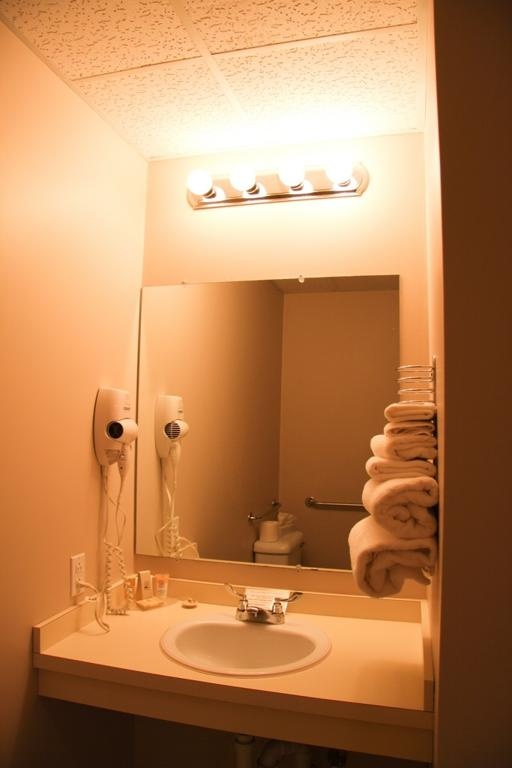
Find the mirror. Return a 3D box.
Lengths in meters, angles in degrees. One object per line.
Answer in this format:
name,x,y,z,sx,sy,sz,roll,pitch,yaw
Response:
mirror,0.054,0.135,1.808,0.925,0.989,0.013,-1,-4,21

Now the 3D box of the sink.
sink,-0.024,0.652,1.601,0.414,0.132,0.339,0,-3,8

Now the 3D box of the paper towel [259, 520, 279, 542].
paper towel,0.039,0.437,1.822,0.060,0.059,0.060,5,-6,-27

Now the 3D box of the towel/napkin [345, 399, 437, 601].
towel/napkin,0.307,0.269,1.368,0.227,0.502,0.525,1,-5,8
